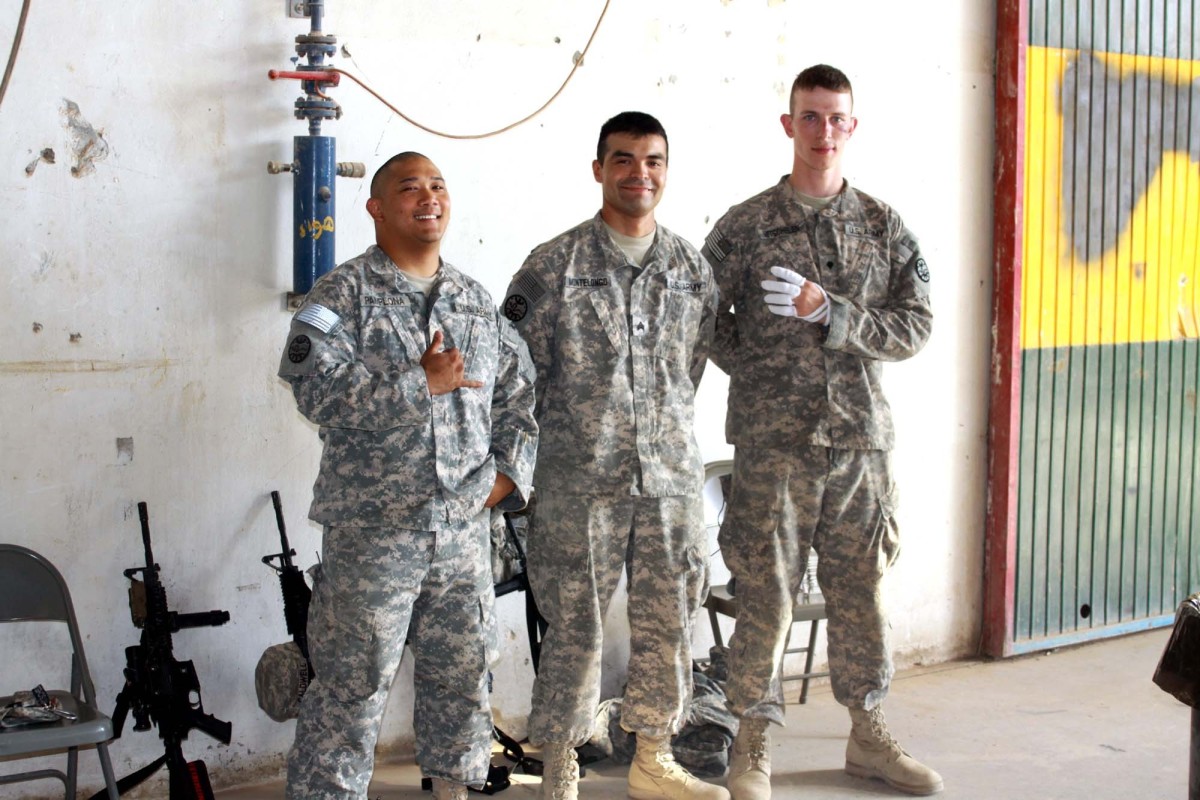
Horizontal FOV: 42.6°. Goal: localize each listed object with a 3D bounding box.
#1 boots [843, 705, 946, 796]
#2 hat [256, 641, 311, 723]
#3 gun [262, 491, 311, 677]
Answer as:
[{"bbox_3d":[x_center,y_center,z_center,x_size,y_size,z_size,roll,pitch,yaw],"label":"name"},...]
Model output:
[{"bbox_3d":[1.145,1.430,6.233,0.502,0.352,0.196,3,6,34],"label":"boots"},{"bbox_3d":[-1.255,1.100,5.991,0.126,0.298,0.262,6,-11,-43],"label":"hat"},{"bbox_3d":[-1.254,0.750,6.088,0.138,0.672,0.226,-11,-8,-2],"label":"gun"}]
